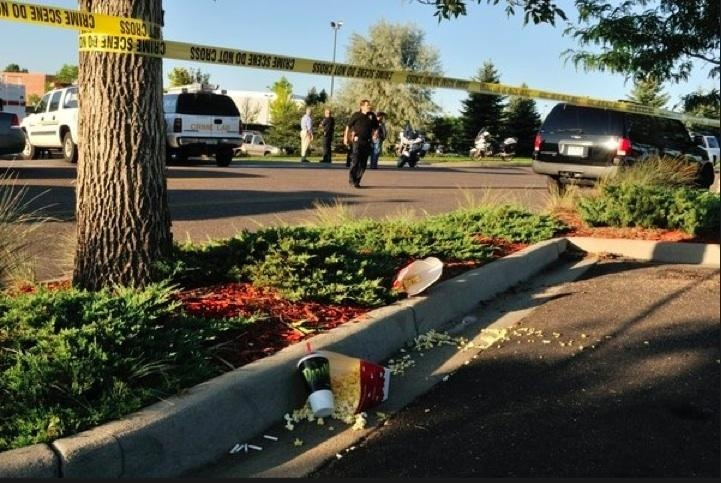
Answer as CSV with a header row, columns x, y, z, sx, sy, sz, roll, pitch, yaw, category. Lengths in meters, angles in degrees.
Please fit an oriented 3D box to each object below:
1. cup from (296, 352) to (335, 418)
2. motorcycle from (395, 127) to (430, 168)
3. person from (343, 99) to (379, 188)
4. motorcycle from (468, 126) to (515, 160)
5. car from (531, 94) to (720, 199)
x,y,z,sx,sy,sz,roll,pitch,yaw,category
-0.312,1.024,4.068,0.261,0.443,0.227,-2,14,-5,cup
2.356,-4.169,24.672,1.141,1.550,3.072,14,19,20,motorcycle
0.008,-2.415,14.311,0.809,2.149,1.037,-1,14,-1,person
7.378,-5.443,32.309,2.386,1.558,1.154,-4,15,-12,motorcycle
5.617,-2.023,12.058,3.345,1.710,1.799,-5,16,-17,car
